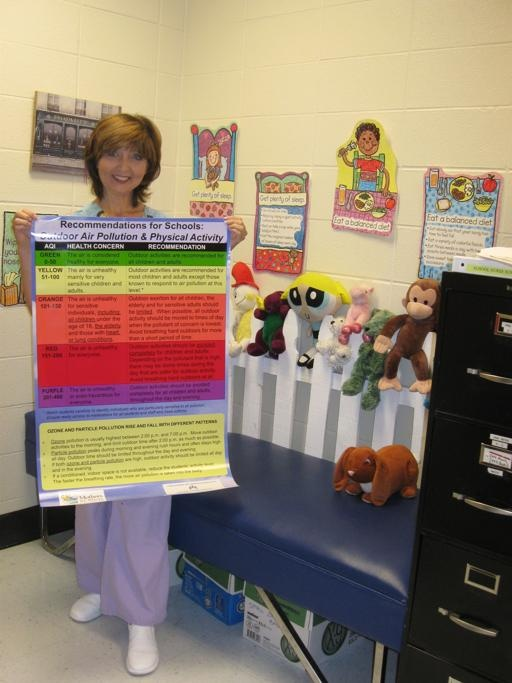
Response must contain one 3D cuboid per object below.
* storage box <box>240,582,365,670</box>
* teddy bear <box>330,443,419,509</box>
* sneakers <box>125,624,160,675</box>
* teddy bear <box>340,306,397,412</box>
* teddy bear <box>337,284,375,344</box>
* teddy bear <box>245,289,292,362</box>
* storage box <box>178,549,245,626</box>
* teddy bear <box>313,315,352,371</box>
[{"bbox_3d":[0.124,0.754,1.535,0.245,0.180,0.241,-3,4,-42],"label":"storage box"},{"bbox_3d":[0.331,0.330,1.423,0.241,0.142,0.164,-7,8,-40],"label":"teddy bear"},{"bbox_3d":[-0.294,0.794,1.391,0.057,0.055,0.133,2,6,-11],"label":"sneakers"},{"bbox_3d":[0.349,0.058,1.559,0.113,0.087,0.268,20,35,-7],"label":"teddy bear"},{"bbox_3d":[0.299,-0.080,1.590,0.075,0.158,0.149,12,50,29],"label":"teddy bear"},{"bbox_3d":[0.058,-0.063,1.795,0.138,0.227,0.129,-2,-10,38],"label":"teddy bear"},{"bbox_3d":[-0.124,0.723,1.701,0.216,0.210,0.130,17,19,36],"label":"storage box"},{"bbox_3d":[0.237,0.003,1.627,0.044,0.146,0.141,-2,13,-34],"label":"teddy bear"}]
